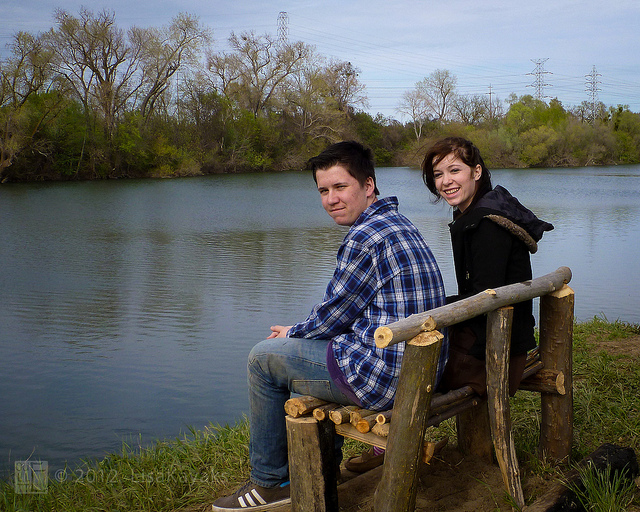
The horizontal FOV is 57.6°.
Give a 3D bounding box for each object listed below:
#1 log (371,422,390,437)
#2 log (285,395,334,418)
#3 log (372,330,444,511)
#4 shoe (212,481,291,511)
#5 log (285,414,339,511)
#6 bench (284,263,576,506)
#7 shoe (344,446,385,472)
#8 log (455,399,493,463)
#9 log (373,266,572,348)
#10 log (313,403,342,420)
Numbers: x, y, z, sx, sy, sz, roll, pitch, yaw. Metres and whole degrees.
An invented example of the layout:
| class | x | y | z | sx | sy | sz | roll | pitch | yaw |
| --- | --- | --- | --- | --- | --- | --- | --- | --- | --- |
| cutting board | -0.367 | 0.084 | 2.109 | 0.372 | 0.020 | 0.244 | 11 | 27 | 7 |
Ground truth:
| class | x | y | z | sx | sy | sz | roll | pitch | yaw |
| --- | --- | --- | --- | --- | --- | --- | --- | --- | --- |
| log | 0.301 | 0.867 | 2.901 | 0.071 | 0.072 | 0.024 | 17 | 20 | 31 |
| log | -0.066 | 0.792 | 3.135 | 0.170 | 0.067 | 0.105 | -2 | 12 | -39 |
| log | 0.413 | 0.788 | 2.740 | 0.300 | 0.910 | 0.130 | -5 | 14 | -21 |
| shoe | -0.352 | 1.380 | 3.401 | 0.505 | 0.195 | 0.174 | 2 | -11 | 7 |
| log | -0.039 | 1.117 | 3.093 | 0.258 | 0.518 | 0.182 | -1 | 13 | -5 |
| bench | 0.626 | 0.735 | 3.199 | 0.602 | 0.830 | 1.324 | 6 | 8 | 42 |
| shoe | 0.300 | 1.332 | 3.819 | 0.248 | 0.093 | 0.182 | -10 | 5 | 8 |
| log | 1.030 | 1.070 | 3.784 | 0.194 | 0.293 | 0.166 | 16 | 37 | 30 |
| log | 0.811 | 0.276 | 3.125 | 1.508 | 0.139 | 0.186 | -14 | 1 | -38 |
| log | 0.040 | 0.827 | 3.104 | 0.052 | 0.061 | 0.189 | -7 | -5 | 30 |
